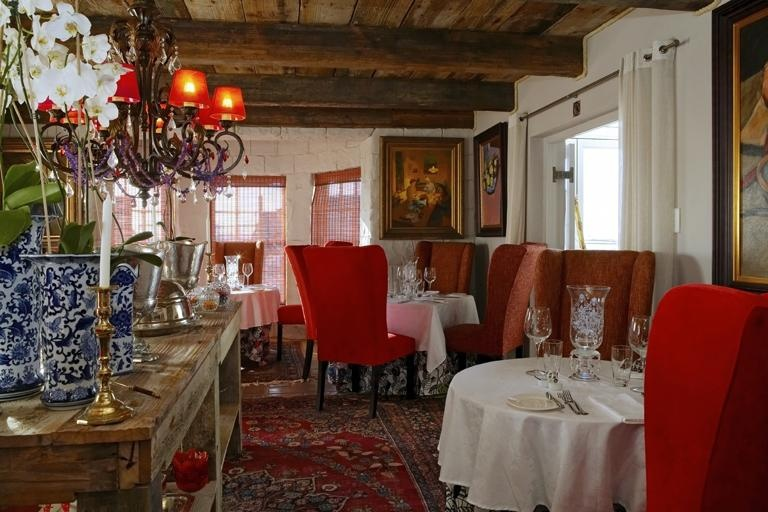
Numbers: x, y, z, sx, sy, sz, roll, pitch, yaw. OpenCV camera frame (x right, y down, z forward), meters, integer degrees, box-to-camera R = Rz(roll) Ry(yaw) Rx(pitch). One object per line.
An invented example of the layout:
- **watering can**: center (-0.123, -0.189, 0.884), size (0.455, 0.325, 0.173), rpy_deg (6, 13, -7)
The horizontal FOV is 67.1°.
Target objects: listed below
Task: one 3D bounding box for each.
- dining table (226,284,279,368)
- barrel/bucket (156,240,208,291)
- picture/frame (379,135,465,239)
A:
- **dining table**: center (-1.182, 0.675, 5.998), size (0.769, 0.765, 0.764), rpy_deg (0, 0, -27)
- **barrel/bucket**: center (-0.925, 0.016, 2.827), size (0.278, 0.279, 0.267), rpy_deg (3, 9, 0)
- **picture/frame**: center (0.421, -0.860, 7.161), size (1.232, 1.476, 0.110), rpy_deg (0, -1, -6)
